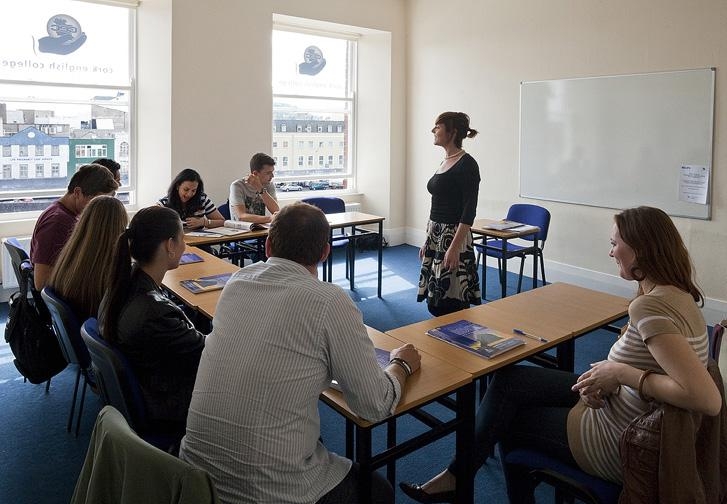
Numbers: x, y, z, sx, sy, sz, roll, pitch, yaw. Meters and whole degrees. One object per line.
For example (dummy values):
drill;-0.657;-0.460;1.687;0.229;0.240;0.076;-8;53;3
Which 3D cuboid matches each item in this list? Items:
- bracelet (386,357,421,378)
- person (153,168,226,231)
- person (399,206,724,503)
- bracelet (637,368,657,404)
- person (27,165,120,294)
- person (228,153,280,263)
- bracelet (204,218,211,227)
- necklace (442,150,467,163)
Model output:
bracelet;0.167;0.492;2.100;0.112;0.074;0.106;33;-12;31
person;-1.690;-0.447;4.670;0.590;0.794;0.408;-14;36;-35
person;0.960;0.413;2.050;0.859;1.197;0.422;9;14;37
bracelet;1.022;0.491;1.810;0.094;0.095;0.023;-23;21;-34
person;-1.491;-0.057;2.664;0.320;0.712;0.282;6;40;-34
person;-1.085;-0.412;5.007;0.415;1.159;0.647;-3;18;-32
bracelet;-1.460;-0.283;4.615;0.068;0.074;0.021;2;-10;-21
necklace;0.633;-0.667;3.492;0.159;0.129;0.105;4;12;16
